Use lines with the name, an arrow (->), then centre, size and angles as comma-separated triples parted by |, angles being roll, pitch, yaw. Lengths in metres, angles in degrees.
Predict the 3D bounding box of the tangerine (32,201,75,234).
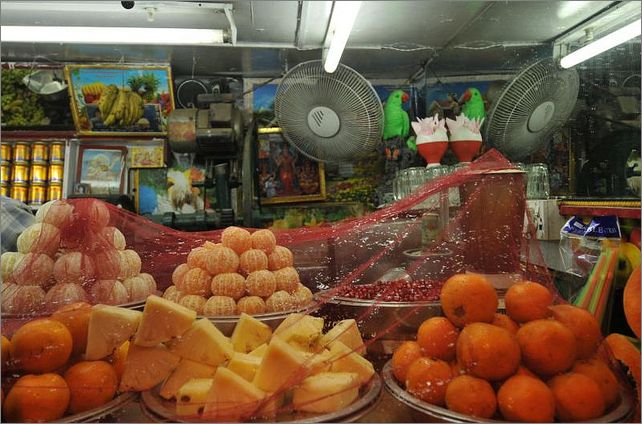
tangerine -> -0.854, 0.015, 1.639 | 0.086, 0.094, 0.105 | -2, 7, -2

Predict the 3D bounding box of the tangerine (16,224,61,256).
tangerine -> -0.909, 0.086, 1.631 | 0.145, 0.097, 0.049 | 2, 4, 22

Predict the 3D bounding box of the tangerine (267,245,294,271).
tangerine -> -0.144, 0.162, 1.798 | 0.073, 0.074, 0.076 | -3, -12, 5

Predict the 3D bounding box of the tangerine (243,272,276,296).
tangerine -> -0.208, 0.247, 1.771 | 0.099, 0.102, 0.109 | 0, 7, 15

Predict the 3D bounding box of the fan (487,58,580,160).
fan -> 1.397, -0.649, 3.341 | 0.630, 0.703, 0.200 | -12, 42, -16

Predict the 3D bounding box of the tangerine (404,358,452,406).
tangerine -> 0.335, 0.526, 1.611 | 0.115, 0.125, 0.166 | 1, -2, -8

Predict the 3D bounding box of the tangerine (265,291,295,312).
tangerine -> -0.141, 0.304, 1.711 | 0.068, 0.042, 0.063 | -5, 5, -29

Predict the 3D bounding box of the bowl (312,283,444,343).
bowl -> 0.186, 0.328, 1.701 | 0.413, 0.203, 0.061 | 0, 3, -3

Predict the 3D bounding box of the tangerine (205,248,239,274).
tangerine -> -0.339, 0.174, 1.731 | 0.082, 0.086, 0.085 | -1, 3, 3

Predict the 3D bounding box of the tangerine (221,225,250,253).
tangerine -> -0.306, 0.096, 1.790 | 0.095, 0.096, 0.097 | 6, 2, 7

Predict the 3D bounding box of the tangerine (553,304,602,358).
tangerine -> 0.831, 0.368, 1.641 | 0.109, 0.152, 0.162 | -3, 2, 31

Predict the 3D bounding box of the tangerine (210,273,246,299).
tangerine -> -0.316, 0.251, 1.724 | 0.091, 0.069, 0.090 | 5, -3, -40

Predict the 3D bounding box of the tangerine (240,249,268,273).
tangerine -> -0.235, 0.168, 1.793 | 0.075, 0.080, 0.077 | -15, -20, 10

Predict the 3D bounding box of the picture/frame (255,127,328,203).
picture/frame -> -0.282, -0.388, 4.353 | 0.646, 0.668, 0.062 | -2, -2, -16

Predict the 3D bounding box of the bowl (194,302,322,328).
bowl -> -0.204, 0.336, 1.689 | 0.401, 0.073, 0.075 | 0, 4, 2

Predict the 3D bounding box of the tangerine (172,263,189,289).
tangerine -> -0.482, 0.220, 1.726 | 0.062, 0.078, 0.064 | 5, 2, 1

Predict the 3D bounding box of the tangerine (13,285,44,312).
tangerine -> -0.919, 0.277, 1.601 | 0.074, 0.077, 0.076 | 1, 4, 5

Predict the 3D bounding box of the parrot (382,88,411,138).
parrot -> 0.616, -0.787, 4.201 | 0.132, 0.435, 0.206 | -2, 6, -24

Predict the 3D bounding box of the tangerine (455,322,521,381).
tangerine -> 0.526, 0.446, 1.646 | 0.179, 0.142, 0.145 | 7, -31, -10

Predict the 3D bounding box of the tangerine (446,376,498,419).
tangerine -> 0.462, 0.573, 1.570 | 0.154, 0.120, 0.056 | 1, 3, 15

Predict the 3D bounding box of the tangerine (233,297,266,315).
tangerine -> -0.241, 0.314, 1.719 | 0.061, 0.064, 0.063 | 0, -9, -3

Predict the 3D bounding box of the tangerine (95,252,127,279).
tangerine -> -0.677, 0.166, 1.641 | 0.082, 0.084, 0.082 | -1, -1, -32

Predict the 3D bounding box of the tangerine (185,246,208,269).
tangerine -> -0.426, 0.159, 1.735 | 0.059, 0.072, 0.062 | 16, 3, 11

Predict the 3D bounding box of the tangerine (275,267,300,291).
tangerine -> -0.117, 0.233, 1.732 | 0.072, 0.077, 0.072 | -5, -26, -11

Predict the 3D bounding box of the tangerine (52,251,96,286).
tangerine -> -0.808, 0.195, 1.665 | 0.136, 0.140, 0.137 | -1, -8, -1

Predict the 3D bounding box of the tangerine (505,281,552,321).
tangerine -> 0.672, 0.298, 1.652 | 0.141, 0.130, 0.049 | 2, 3, 20

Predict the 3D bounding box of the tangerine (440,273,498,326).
tangerine -> 0.468, 0.287, 1.626 | 0.164, 0.162, 0.146 | -2, 7, 18

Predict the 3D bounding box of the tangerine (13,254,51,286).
tangerine -> -0.902, 0.183, 1.605 | 0.099, 0.126, 0.103 | 6, 2, 3

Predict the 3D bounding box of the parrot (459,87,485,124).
parrot -> 1.170, -0.845, 3.944 | 0.197, 0.341, 0.726 | 1, 4, 17

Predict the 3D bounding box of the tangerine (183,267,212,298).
tangerine -> -0.403, 0.247, 1.769 | 0.106, 0.109, 0.108 | -2, -5, -9

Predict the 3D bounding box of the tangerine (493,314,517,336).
tangerine -> 0.595, 0.362, 1.648 | 0.069, 0.040, 0.060 | 21, 13, -8

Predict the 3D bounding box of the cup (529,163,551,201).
cup -> 1.433, -0.205, 3.364 | 0.137, 0.227, 0.352 | 2, 4, 23

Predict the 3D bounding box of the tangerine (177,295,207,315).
tangerine -> -0.429, 0.310, 1.666 | 0.064, 0.065, 0.066 | 0, -16, -2

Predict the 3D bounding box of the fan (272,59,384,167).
fan -> 0.058, -0.739, 3.799 | 0.789, 0.684, 0.440 | 0, 3, 3

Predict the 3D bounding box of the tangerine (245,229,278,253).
tangerine -> -0.218, 0.100, 1.761 | 0.079, 0.081, 0.080 | -1, -3, -2

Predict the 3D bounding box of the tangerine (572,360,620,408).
tangerine -> 0.878, 0.523, 1.600 | 0.120, 0.129, 0.170 | -5, -3, 23

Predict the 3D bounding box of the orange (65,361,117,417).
orange -> -0.715, 0.533, 1.584 | 0.130, 0.145, 0.173 | 3, -2, -17

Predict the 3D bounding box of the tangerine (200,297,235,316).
tangerine -> -0.343, 0.320, 1.709 | 0.068, 0.042, 0.074 | -3, -5, 41

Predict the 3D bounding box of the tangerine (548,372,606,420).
tangerine -> 0.795, 0.569, 1.629 | 0.127, 0.131, 0.162 | -5, 2, 10

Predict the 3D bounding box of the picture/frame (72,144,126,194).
picture/frame -> -1.870, -0.362, 4.303 | 0.421, 0.403, 0.130 | -1, 3, -20
